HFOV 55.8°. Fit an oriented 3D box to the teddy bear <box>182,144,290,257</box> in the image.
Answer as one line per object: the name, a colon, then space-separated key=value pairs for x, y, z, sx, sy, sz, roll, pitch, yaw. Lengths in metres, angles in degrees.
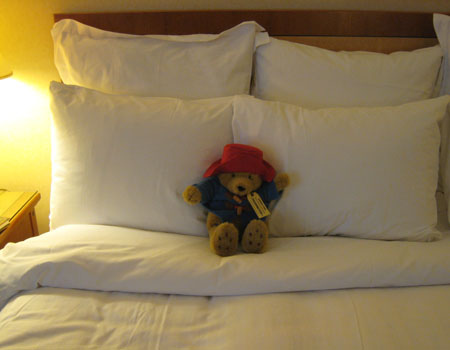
teddy bear: x=0.049 y=0.090 z=1.636 sx=0.348 sy=0.234 sz=0.412 roll=0 pitch=-64 yaw=-5

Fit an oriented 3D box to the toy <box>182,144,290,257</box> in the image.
toy: x=0.043 y=0.104 z=1.637 sx=0.367 sy=0.415 sz=0.232 roll=0 pitch=11 yaw=-11

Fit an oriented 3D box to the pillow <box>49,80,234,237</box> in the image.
pillow: x=-0.343 y=-0.039 z=1.695 sx=0.532 sy=0.460 sz=0.152 roll=2 pitch=-11 yaw=3
